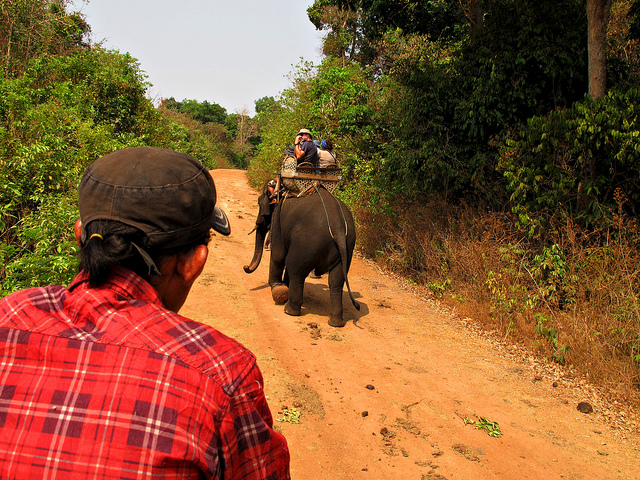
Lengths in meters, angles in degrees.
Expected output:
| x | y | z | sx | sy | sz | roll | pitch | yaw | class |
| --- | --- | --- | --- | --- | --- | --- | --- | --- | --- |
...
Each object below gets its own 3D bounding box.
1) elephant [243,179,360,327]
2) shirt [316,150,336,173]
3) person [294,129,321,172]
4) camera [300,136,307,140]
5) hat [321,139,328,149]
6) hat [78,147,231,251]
| x | y | z | sx | sy | sz | roll | pitch | yaw | class |
| --- | --- | --- | --- | --- | --- | --- | --- | --- | --- |
| -0.420 | 0.062 | 7.787 | 0.984 | 1.861 | 2.834 | 5 | 5 | -33 | elephant |
| 0.082 | -1.136 | 7.550 | 0.196 | 0.259 | 0.365 | -3 | 23 | -11 | shirt |
| -0.169 | -1.312 | 7.571 | 0.380 | 0.615 | 0.940 | 6 | 5 | -4 | person |
| -0.233 | -1.508 | 7.797 | 0.071 | 0.034 | 0.088 | 0 | 22 | -6 | camera |
| 0.057 | -1.457 | 8.078 | 0.096 | 0.136 | 0.077 | -18 | 15 | 19 | hat |
| -0.816 | -0.248 | 2.626 | 0.578 | 0.445 | 0.841 | 6 | 19 | -2 | hat |
